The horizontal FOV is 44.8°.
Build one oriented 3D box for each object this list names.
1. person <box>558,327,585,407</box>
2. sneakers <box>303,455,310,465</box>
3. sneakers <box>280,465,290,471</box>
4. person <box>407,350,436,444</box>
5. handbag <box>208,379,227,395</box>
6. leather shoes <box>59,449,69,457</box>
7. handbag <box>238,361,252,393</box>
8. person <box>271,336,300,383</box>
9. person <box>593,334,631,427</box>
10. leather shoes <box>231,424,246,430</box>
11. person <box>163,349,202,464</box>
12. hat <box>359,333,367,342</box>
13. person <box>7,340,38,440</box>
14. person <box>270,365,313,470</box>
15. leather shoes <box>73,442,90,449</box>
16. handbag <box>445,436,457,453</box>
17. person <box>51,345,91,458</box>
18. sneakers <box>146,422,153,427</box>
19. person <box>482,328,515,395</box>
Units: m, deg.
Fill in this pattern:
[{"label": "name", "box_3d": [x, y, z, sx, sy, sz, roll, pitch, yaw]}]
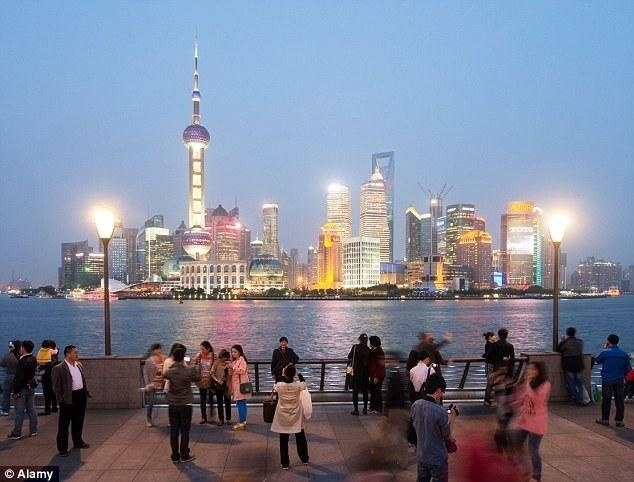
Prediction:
[{"label": "person", "box_3d": [7.012, 3.370, 20.960, 0.744, 2.065, 0.738, 7, -13, -32]}, {"label": "sneakers", "box_3d": [-0.232, 4.787, 16.898, 0.154, 0.192, 0.152, 1, 3, -7]}, {"label": "sneakers", "box_3d": [-0.669, 4.871, 16.642, 0.189, 0.108, 0.152, 1, -5, -4]}, {"label": "person", "box_3d": [2.431, 3.273, 17.387, 0.573, 1.729, 0.543, 9, 21, 27]}, {"label": "handbag", "box_3d": [-2.411, 3.595, 19.044, 0.391, 0.339, 0.491, 2, -5, -15]}, {"label": "leather shoes", "box_3d": [-5.699, 4.715, 17.287, 0.240, 0.153, 0.264, 2, -5, -14]}, {"label": "handbag", "box_3d": [-1.698, 3.378, 18.781, 0.256, 0.692, 0.353, -1, -5, 18]}, {"label": "person", "box_3d": [-0.790, 3.283, 19.462, 0.724, 1.732, 0.515, 1, 15, 2]}, {"label": "person", "box_3d": [7.456, 3.441, 19.269, 0.755, 2.234, 1.316, -1, -5, 22]}, {"label": "leather shoes", "box_3d": [-1.919, 4.540, 18.897, 0.246, 0.096, 0.141, 5, -8, 1]}, {"label": "person", "box_3d": [-3.055, 3.599, 17.363, 0.760, 2.551, 0.989, 1, -5, -9]}, {"label": "hat", "box_3d": [1.190, 2.435, 19.605, 0.262, 0.249, 0.200, 1, 4, 7]}, {"label": "person", "box_3d": [-7.086, 3.547, 18.659, 0.665, 2.261, 0.794, 2, -5, -20]}, {"label": "person", "box_3d": [-0.562, 3.822, 16.900, 0.984, 2.263, 0.839, -3, 9, -20]}, {"label": "leather shoes", "box_3d": [-5.419, 4.673, 17.704, 0.362, 0.162, 0.129, 0, -1, -9]}, {"label": "handbag", "box_3d": [2.576, 3.842, 14.586, 0.162, 0.336, 0.525, -1, -5, 16]}, {"label": "person", "box_3d": [-5.635, 3.600, 17.567, 0.426, 2.404, 0.851, -3, -6, 38]}, {"label": "sneakers", "box_3d": [-4.125, 4.520, 19.052, 0.136, 0.104, 0.180, 2, -5, -14]}, {"label": "person", "box_3d": [4.835, 3.284, 20.399, 0.751, 1.918, 1.504, 0, -5, 12]}]
